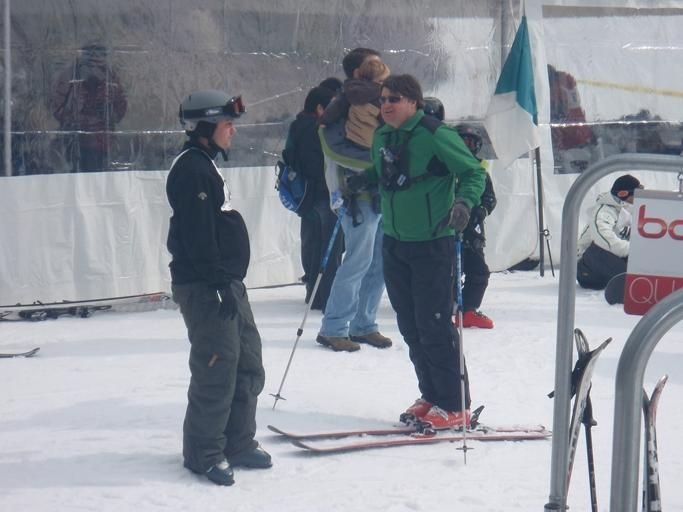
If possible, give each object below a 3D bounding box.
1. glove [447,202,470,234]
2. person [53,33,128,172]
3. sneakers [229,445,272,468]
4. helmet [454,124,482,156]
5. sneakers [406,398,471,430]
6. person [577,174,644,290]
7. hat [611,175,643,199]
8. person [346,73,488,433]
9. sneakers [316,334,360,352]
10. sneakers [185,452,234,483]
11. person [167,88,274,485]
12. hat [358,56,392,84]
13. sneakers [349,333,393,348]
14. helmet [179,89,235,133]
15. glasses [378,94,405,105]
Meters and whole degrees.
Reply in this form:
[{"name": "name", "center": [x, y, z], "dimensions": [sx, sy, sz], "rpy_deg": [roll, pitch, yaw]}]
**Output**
[{"name": "glove", "center": [0.904, -0.287, 10.483], "dimensions": [0.151, 0.223, 0.064], "rpy_deg": [5, 0, -1]}, {"name": "person", "center": [-2.497, -1.456, 13.550], "dimensions": [0.732, 1.184, 0.223], "rpy_deg": [-4, 9, -20]}, {"name": "sneakers", "center": [-0.680, 1.514, 10.368], "dimensions": [0.330, 0.176, 0.142], "rpy_deg": [-1, 2, -2]}, {"name": "helmet", "center": [1.152, -1.088, 12.307], "dimensions": [0.223, 0.326, 0.250], "rpy_deg": [3, -30, -13]}, {"name": "sneakers", "center": [0.747, 1.251, 10.797], "dimensions": [0.546, 0.251, 0.203], "rpy_deg": [12, 0, -3]}, {"name": "person", "center": [2.436, -0.176, 12.371], "dimensions": [0.746, 1.107, 0.788], "rpy_deg": [1, 24, 20]}, {"name": "hat", "center": [2.858, -0.661, 13.751], "dimensions": [0.288, 0.257, 0.647], "rpy_deg": [0, 8, 11]}, {"name": "person", "center": [0.663, -0.027, 10.727], "dimensions": [0.927, 2.742, 0.420], "rpy_deg": [5, 9, 40]}, {"name": "sneakers", "center": [-0.024, 0.773, 12.194], "dimensions": [0.363, 0.175, 0.144], "rpy_deg": [6, 11, 12]}, {"name": "sneakers", "center": [-0.988, 1.566, 10.196], "dimensions": [0.385, 0.173, 0.148], "rpy_deg": [15, 8, 18]}, {"name": "person", "center": [-0.917, 0.234, 10.177], "dimensions": [0.649, 2.871, 0.512], "rpy_deg": [-4, 8, -23]}, {"name": "hat", "center": [0.299, -1.619, 12.096], "dimensions": [0.200, 0.257, 0.235], "rpy_deg": [7, 5, 24]}, {"name": "sneakers", "center": [0.263, 0.744, 12.342], "dimensions": [0.387, 0.166, 0.135], "rpy_deg": [1, 0, 22]}, {"name": "helmet", "center": [-1.005, -1.088, 10.242], "dimensions": [0.350, 0.231, 0.276], "rpy_deg": [12, 10, -1]}, {"name": "glasses", "center": [0.395, -1.204, 10.635], "dimensions": [0.182, 0.062, 0.041], "rpy_deg": [2, 8, 22]}]
